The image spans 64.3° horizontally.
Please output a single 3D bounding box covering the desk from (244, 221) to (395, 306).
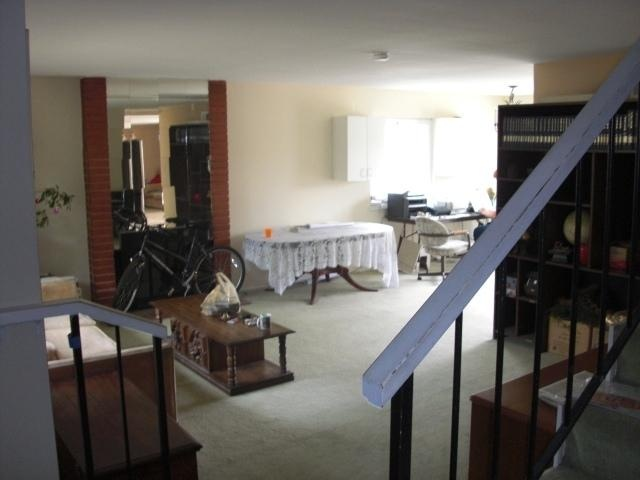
[{"bbox_3d":[0.031,0.301,7.207,2.073,0.975,0.841,-7,10,-25],"label":"desk"}]

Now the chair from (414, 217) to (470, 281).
[{"bbox_3d":[1.917,0.089,8.013,0.853,1.111,0.879,-4,10,-8],"label":"chair"}]

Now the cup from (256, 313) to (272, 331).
[{"bbox_3d":[-0.492,0.723,4.563,0.142,0.148,0.122,3,2,-16],"label":"cup"}]

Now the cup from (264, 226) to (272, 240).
[{"bbox_3d":[-0.677,-0.102,6.944,0.148,0.141,0.122,-3,11,-30],"label":"cup"}]

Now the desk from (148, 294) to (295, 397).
[{"bbox_3d":[-0.912,0.961,4.825,0.676,0.542,1.419,-11,13,-43],"label":"desk"}]

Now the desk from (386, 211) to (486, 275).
[{"bbox_3d":[1.940,0.099,7.983,0.883,1.046,0.830,-7,7,-42],"label":"desk"}]
